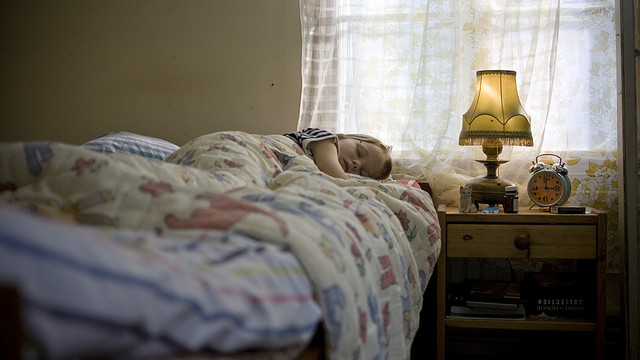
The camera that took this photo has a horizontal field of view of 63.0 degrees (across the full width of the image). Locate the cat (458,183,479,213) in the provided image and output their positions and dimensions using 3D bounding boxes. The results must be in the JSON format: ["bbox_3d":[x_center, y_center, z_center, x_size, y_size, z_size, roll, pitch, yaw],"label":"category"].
[{"bbox_3d":[0.860,0.106,3.019,0.125,0.148,0.099,-6,9,-25],"label":"cat"}]

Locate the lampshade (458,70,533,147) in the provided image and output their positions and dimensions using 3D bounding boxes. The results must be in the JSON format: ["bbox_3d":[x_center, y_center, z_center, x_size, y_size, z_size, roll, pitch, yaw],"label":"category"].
[{"bbox_3d":[0.990,-0.405,3.199,0.452,0.462,0.439,1,-1,-1],"label":"lampshade"}]

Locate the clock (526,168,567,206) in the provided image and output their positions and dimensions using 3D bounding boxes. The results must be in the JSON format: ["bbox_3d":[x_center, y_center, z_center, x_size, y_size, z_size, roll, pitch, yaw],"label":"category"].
[{"bbox_3d":[1.329,0.040,3.035,0.227,0.216,0.081,0,-6,26],"label":"clock"}]

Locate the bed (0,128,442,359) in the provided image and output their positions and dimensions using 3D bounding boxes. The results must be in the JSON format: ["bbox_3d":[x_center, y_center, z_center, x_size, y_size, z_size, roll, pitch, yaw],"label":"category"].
[{"bbox_3d":[-0.419,0.256,2.073,1.367,0.392,1.309,8,9,4],"label":"bed"}]

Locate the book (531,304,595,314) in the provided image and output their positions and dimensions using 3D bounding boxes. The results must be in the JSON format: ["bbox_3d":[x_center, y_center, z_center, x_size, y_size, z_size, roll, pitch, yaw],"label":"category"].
[{"bbox_3d":[1.384,0.731,2.991,0.284,0.040,0.019,0,-8,7],"label":"book"}]
